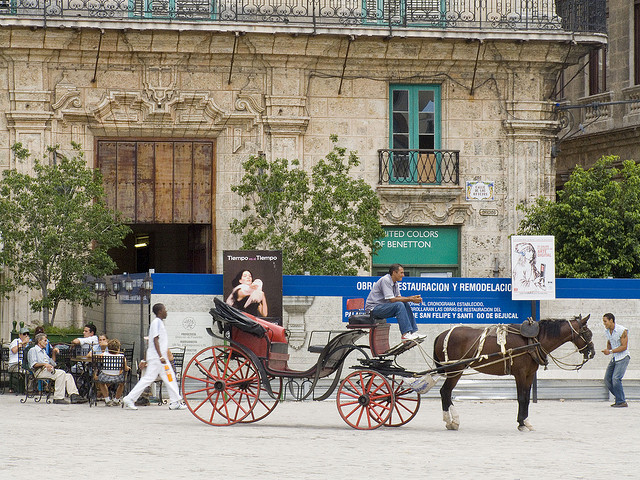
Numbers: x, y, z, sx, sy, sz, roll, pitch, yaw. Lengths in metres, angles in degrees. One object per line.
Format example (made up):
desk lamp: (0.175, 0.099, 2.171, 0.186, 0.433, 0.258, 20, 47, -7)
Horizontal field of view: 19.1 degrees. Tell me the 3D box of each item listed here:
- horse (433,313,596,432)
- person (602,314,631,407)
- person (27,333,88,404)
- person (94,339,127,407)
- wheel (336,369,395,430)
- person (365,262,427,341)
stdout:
horse: (4.660, 3.307, 46.369, 4.033, 2.917, 1.315, -1, -3, 13)
person: (7.752, 3.185, 49.779, 0.795, 2.388, 0.841, 0, 1, -17)
person: (-6.985, 3.434, 50.216, 1.355, 1.847, 0.746, -2, -2, -9)
person: (-5.349, 3.518, 49.514, 0.958, 1.725, 0.938, 4, -7, -10)
wheel: (1.186, 3.925, 47.152, 1.340, 1.459, 3.869, -2, -2, 2)
person: (1.887, 1.571, 46.162, 1.152, 2.002, 1.061, -1, 1, 32)
